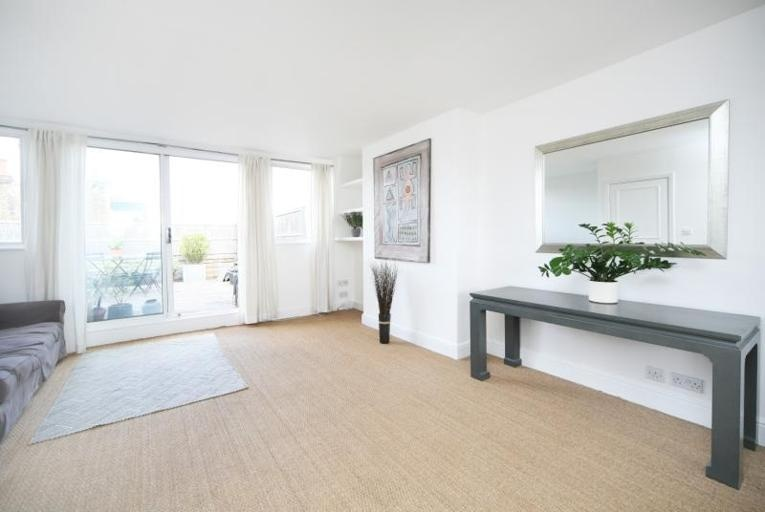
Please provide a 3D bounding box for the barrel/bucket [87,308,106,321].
[{"bbox_3d":[-3.620,0.740,5.797,0.141,0.159,0.157,13,0,-12],"label":"barrel/bucket"}]

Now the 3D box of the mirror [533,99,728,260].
[{"bbox_3d":[2.332,-0.695,4.191,1.596,1.362,0.069,0,1,44],"label":"mirror"}]

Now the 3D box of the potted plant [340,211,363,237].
[{"bbox_3d":[-0.439,-0.484,7.162,0.380,0.403,0.372,-1,1,-20],"label":"potted plant"}]

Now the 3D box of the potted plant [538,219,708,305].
[{"bbox_3d":[2.117,0.039,4.117,0.887,0.591,0.890,0,0,43],"label":"potted plant"}]

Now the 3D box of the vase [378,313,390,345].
[{"bbox_3d":[0.016,0.885,5.672,0.133,0.377,0.195,0,13,-2],"label":"vase"}]

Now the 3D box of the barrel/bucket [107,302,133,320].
[{"bbox_3d":[-3.405,0.711,5.928,0.200,0.151,0.203,0,1,0],"label":"barrel/bucket"}]

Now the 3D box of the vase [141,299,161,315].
[{"bbox_3d":[-3.083,0.675,6.098,0.189,0.183,0.189,1,0,-34],"label":"vase"}]

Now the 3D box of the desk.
[{"bbox_3d":[1.988,0.968,4.234,2.404,1.133,0.791,10,16,38],"label":"desk"}]

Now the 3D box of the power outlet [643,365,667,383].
[{"bbox_3d":[2.465,1.056,4.129,0.013,0.126,0.175,-1,3,-38],"label":"power outlet"}]
